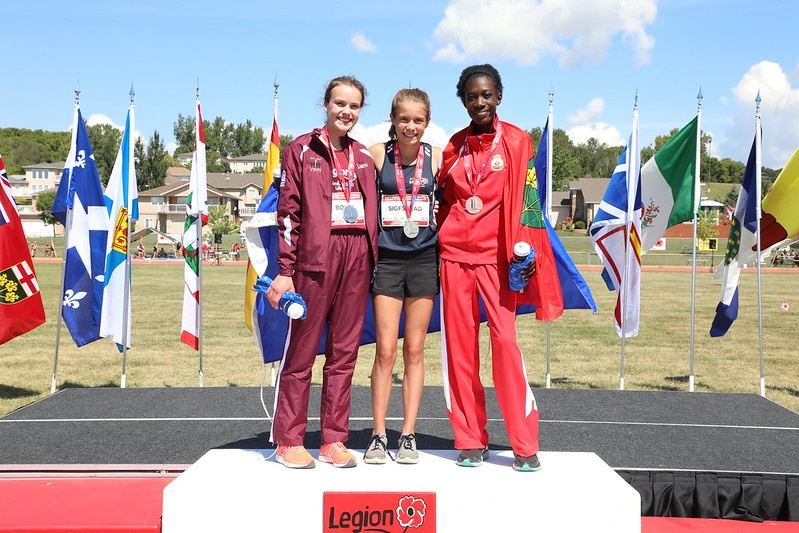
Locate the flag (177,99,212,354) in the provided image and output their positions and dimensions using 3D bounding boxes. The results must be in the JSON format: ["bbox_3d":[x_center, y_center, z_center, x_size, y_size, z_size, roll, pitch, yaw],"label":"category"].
[{"bbox_3d":[-2.983,-0.584,13.633,0.360,3.545,0.926,0,9,-10],"label":"flag"}]

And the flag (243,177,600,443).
[{"bbox_3d":[0.170,0.573,10.692,3.375,2.393,0.514,-3,-4,-3],"label":"flag"}]

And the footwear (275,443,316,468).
[{"bbox_3d":[-1.082,1.934,9.692,0.358,0.163,0.194,0,-2,33],"label":"footwear"}]

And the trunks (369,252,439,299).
[{"bbox_3d":[0.067,0.077,9.888,0.753,0.610,0.448,0,2,-3],"label":"trunks"}]

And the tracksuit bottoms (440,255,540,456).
[{"bbox_3d":[0.933,0.927,9.853,1.038,1.922,0.676,1,9,1],"label":"tracksuit bottoms"}]

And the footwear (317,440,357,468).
[{"bbox_3d":[-0.629,1.931,9.712,0.191,0.188,0.412,2,-2,-41],"label":"footwear"}]

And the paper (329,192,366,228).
[{"bbox_3d":[-0.545,-0.588,9.824,0.347,0.368,0.037,-1,0,-2],"label":"paper"}]

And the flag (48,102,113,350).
[{"bbox_3d":[-4.534,-0.444,13.478,0.709,3.039,0.501,-2,9,-20],"label":"flag"}]

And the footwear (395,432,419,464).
[{"bbox_3d":[0.089,1.867,9.766,0.236,0.283,0.226,2,9,2],"label":"footwear"}]

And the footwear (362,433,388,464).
[{"bbox_3d":[-0.229,1.882,9.759,0.268,0.267,0.201,1,9,-3],"label":"footwear"}]
